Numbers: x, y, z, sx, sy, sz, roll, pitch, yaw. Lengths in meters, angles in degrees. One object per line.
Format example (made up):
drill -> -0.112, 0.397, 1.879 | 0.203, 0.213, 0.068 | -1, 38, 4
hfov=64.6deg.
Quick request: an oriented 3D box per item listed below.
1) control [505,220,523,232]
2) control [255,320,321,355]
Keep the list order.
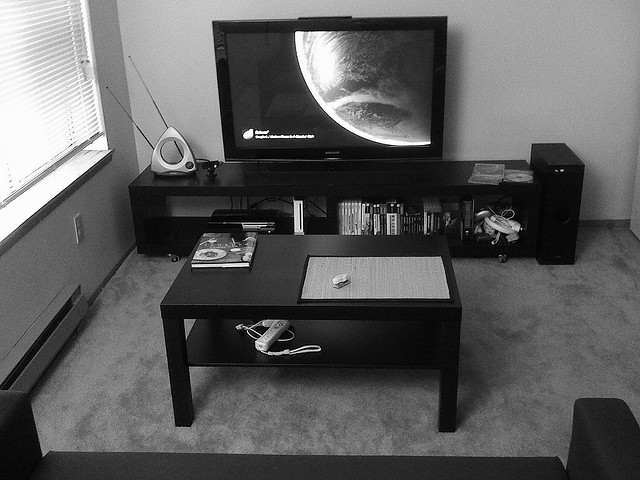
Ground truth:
control -> 1.356, -0.103, 3.499 | 0.061, 0.030, 0.100 | 10, 27, -17
control -> -0.153, 0.377, 2.384 | 0.346, 0.105, 0.285 | -2, 25, -9
